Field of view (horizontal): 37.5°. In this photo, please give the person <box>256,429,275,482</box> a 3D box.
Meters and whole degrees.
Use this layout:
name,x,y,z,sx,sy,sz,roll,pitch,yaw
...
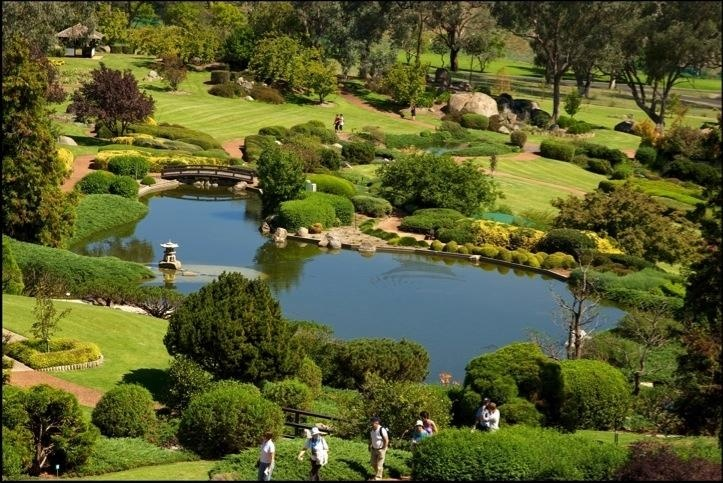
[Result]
name,x,y,z,sx,sy,sz,roll,pitch,yaw
person,-5.221,11.617,58.349,0.968,2.687,1.285,6,12,-5

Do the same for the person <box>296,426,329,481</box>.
name,x,y,z,sx,sy,sz,roll,pitch,yaw
person,-2.628,11.560,58.621,1.420,2.825,1.077,11,13,20

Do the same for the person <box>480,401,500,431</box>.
name,x,y,z,sx,sy,sz,roll,pitch,yaw
person,7.347,10.099,61.238,1.054,1.639,0.783,11,13,21
